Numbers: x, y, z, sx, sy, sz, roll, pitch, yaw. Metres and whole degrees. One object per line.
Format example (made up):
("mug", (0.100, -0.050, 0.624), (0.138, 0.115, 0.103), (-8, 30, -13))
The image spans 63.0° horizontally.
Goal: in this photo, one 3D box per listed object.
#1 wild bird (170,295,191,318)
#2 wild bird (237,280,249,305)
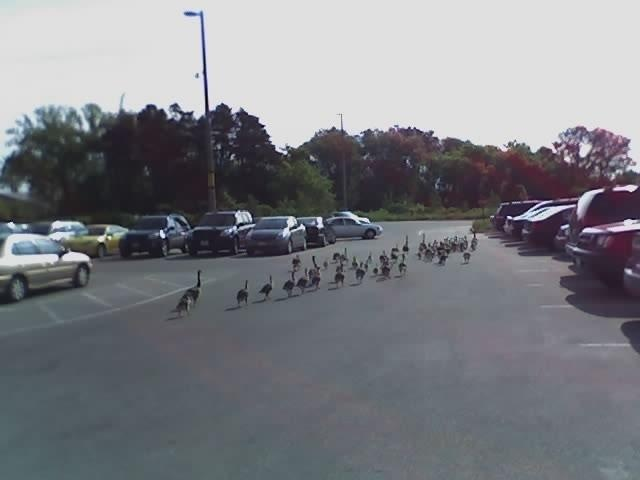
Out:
("wild bird", (-2.979, 1.413, 11.319), (0.332, 0.382, 0.773), (-2, 5, -18))
("wild bird", (-1.941, 1.341, 13.145), (0.199, 0.593, 0.692), (4, 17, 6))
